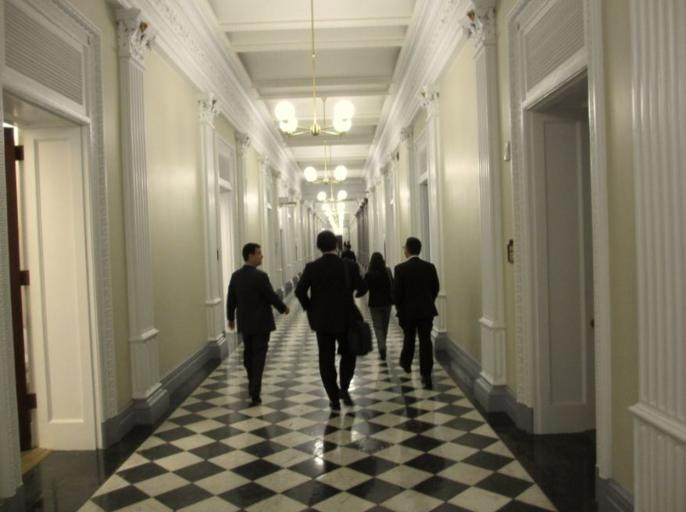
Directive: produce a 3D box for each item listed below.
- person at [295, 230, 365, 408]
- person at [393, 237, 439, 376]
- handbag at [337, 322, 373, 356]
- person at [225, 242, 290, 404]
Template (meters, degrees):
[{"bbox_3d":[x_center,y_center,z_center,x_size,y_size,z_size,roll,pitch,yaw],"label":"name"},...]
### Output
[{"bbox_3d":[-0.128,0.695,5.395,0.726,1.941,0.580,-2,4,2],"label":"person"},{"bbox_3d":[0.880,0.658,6.180,0.552,1.751,0.562,-2,4,-1],"label":"person"},{"bbox_3d":[0.170,0.867,5.321,0.189,0.347,0.355,-3,-2,19],"label":"handbag"},{"bbox_3d":[-1.029,0.755,5.804,0.629,1.783,0.667,-4,5,-30],"label":"person"}]
